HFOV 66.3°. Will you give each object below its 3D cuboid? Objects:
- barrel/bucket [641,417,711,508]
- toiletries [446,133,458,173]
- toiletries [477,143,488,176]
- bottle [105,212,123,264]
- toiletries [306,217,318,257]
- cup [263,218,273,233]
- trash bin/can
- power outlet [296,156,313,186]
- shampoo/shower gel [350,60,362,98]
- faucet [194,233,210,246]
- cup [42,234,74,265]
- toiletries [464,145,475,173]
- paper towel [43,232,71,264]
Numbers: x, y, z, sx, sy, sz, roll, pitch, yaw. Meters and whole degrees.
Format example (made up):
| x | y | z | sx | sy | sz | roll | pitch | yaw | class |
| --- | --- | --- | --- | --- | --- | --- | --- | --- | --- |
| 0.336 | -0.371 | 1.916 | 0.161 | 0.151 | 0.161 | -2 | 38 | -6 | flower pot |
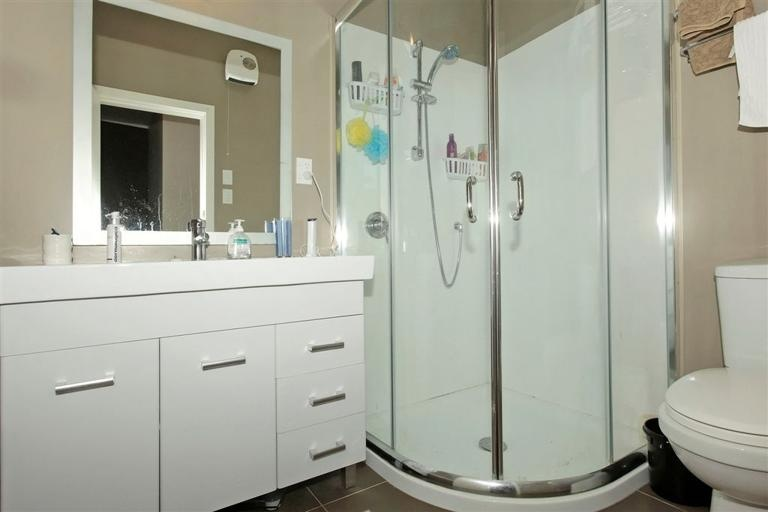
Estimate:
| x | y | z | sx | sy | sz | roll | pitch | yaw | class |
| --- | --- | --- | --- | --- | --- | --- | --- | --- | --- |
| 1.501 | 1.065 | 3.155 | 0.375 | 0.399 | 0.360 | -1 | 3 | 0 | barrel/bucket |
| 0.388 | -0.580 | 3.309 | 0.064 | 0.218 | 0.049 | -1 | 4 | 19 | toiletries |
| 0.538 | -0.522 | 3.164 | 0.043 | 0.179 | 0.127 | -3 | 4 | -2 | toiletries |
| -1.362 | -0.096 | 2.964 | 0.067 | 0.245 | 0.099 | -3 | 4 | -9 | bottle |
| -0.428 | -0.112 | 3.458 | 0.066 | 0.207 | 0.108 | -4 | 4 | -11 | toiletries |
| -0.692 | -0.180 | 3.463 | 0.062 | 0.071 | 0.062 | 0 | 5 | 0 | cup |
| 1.501 | 1.062 | 3.122 | 0.374 | 0.399 | 0.359 | -4 | 4 | -41 | trash bin/can |
| -0.491 | -0.531 | 3.661 | 0.031 | 0.167 | 0.124 | 1 | 6 | 45 | power outlet |
| -0.169 | -1.058 | 3.547 | 0.054 | 0.241 | 0.123 | -5 | 5 | -29 | shampoo/shower gel |
| -0.982 | -0.098 | 3.183 | 0.033 | 0.061 | 0.086 | 1 | 5 | 40 | faucet |
| -1.608 | -0.031 | 2.890 | 0.145 | 0.166 | 0.146 | 1 | -3 | 0 | cup |
| 0.486 | -0.542 | 3.258 | 0.048 | 0.141 | 0.075 | -3 | 4 | -3 | toiletries |
| -1.602 | -0.037 | 2.879 | 0.127 | 0.148 | 0.090 | -5 | 5 | -31 | paper towel |
